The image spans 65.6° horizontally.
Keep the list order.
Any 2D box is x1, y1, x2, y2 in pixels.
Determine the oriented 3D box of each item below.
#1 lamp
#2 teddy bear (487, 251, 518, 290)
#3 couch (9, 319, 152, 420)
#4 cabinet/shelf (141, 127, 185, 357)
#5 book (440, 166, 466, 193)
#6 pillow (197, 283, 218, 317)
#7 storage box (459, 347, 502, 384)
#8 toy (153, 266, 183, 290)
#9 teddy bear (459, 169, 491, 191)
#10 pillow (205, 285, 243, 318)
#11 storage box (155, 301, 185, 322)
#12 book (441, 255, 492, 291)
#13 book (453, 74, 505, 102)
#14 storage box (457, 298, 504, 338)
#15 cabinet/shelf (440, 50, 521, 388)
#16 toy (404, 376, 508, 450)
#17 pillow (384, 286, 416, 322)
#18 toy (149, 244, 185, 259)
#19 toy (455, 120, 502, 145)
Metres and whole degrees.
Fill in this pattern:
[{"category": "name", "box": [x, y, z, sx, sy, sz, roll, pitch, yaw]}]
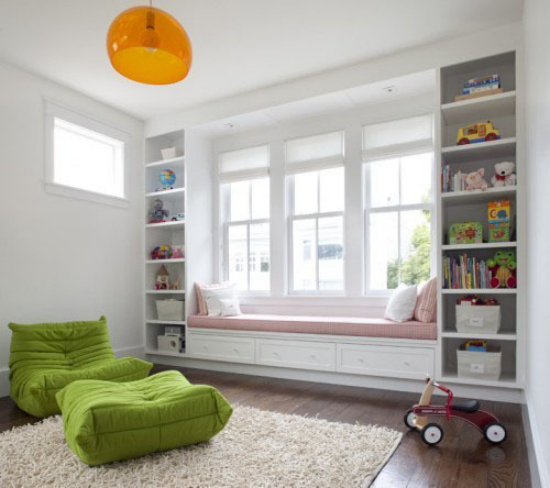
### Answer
[{"category": "lamp", "box": [-0.738, -1.224, 2.549, 0.467, 0.411, 0.399, 1, -4, -17]}, {"category": "teddy bear", "box": [1.869, 0.225, 3.497, 0.192, 0.353, 0.263, 12, -12, -39]}, {"category": "couch", "box": [-1.649, 0.961, 3.581, 0.860, 0.692, 0.983, -4, -7, 39]}, {"category": "cabinet/shelf", "box": [-1.334, 0.034, 5.423, 0.669, 2.899, 0.337, -1, -1, 15]}, {"category": "book", "box": [1.603, -0.546, 3.827, 0.203, 0.275, 0.282, 1, -1, 29]}, {"category": "pillow", "box": [-0.816, 0.663, 5.083, 0.100, 0.323, 0.335, -4, 4, -37]}, {"category": "storage box", "box": [1.728, 1.029, 3.544, 0.362, 0.236, 0.225, -8, -21, 43]}, {"category": "toy", "box": [-1.358, 0.485, 5.543, 0.400, 0.384, 0.287, -1, -8, 1]}, {"category": "teddy bear", "box": [1.700, -0.528, 3.628, 0.127, 0.189, 0.211, 3, -5, -42]}, {"category": "pillow", "box": [-0.585, 0.691, 5.062, 0.454, 0.421, 0.268, 2, -15, -31]}, {"category": "storage box", "box": [-1.263, 0.826, 5.246, 0.436, 0.254, 0.146, -4, -5, 38]}, {"category": "book", "box": [1.627, 0.244, 3.618, 0.379, 0.284, 0.112, -2, -4, 22]}, {"category": "book", "box": [1.755, -1.328, 3.640, 0.288, 0.180, 0.291, 0, 2, 33]}, {"category": "storage box", "box": [1.752, 0.612, 3.666, 0.397, 0.314, 0.396, -1, -6, 10]}, {"category": "cabinet/shelf", "box": [1.794, -0.317, 3.706, 0.579, 2.457, 0.354, 1, 10, 33]}, {"category": "toy", "box": [1.167, 1.081, 2.840, 0.587, 0.380, 0.383, -1, -7, 7]}, {"category": "pillow", "box": [1.198, 0.569, 4.045, 0.157, 0.292, 0.320, 7, -7, -6]}, {"category": "toy", "box": [-1.357, 0.098, 5.369, 0.316, 0.222, 0.668, 2, -4, -31]}, {"category": "toy", "box": [1.728, -0.944, 3.631, 0.320, 0.214, 0.145, -2, -4, 22]}]
